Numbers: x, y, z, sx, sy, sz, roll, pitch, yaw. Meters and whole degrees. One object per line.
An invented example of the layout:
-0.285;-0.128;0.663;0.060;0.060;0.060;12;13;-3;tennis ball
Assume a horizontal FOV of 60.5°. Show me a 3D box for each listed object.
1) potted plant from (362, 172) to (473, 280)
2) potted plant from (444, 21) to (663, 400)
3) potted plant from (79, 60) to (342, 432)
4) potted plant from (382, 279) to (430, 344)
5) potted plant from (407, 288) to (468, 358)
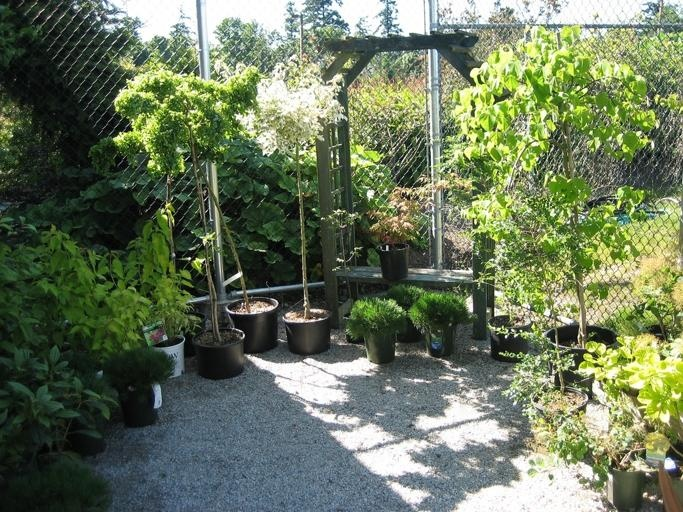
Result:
0.532;-0.339;5.334;0.825;0.960;0.844;6;11;36;potted plant
1.386;-0.451;3.809;1.133;2.297;1.669;4;0;30;potted plant
-1.088;-0.109;4.635;2.022;2.739;1.335;-6;20;-15;potted plant
0.516;0.485;4.826;0.347;0.443;0.388;0;-2;-3;potted plant
0.749;0.521;4.679;0.417;0.505;0.463;-5;13;-10;potted plant
